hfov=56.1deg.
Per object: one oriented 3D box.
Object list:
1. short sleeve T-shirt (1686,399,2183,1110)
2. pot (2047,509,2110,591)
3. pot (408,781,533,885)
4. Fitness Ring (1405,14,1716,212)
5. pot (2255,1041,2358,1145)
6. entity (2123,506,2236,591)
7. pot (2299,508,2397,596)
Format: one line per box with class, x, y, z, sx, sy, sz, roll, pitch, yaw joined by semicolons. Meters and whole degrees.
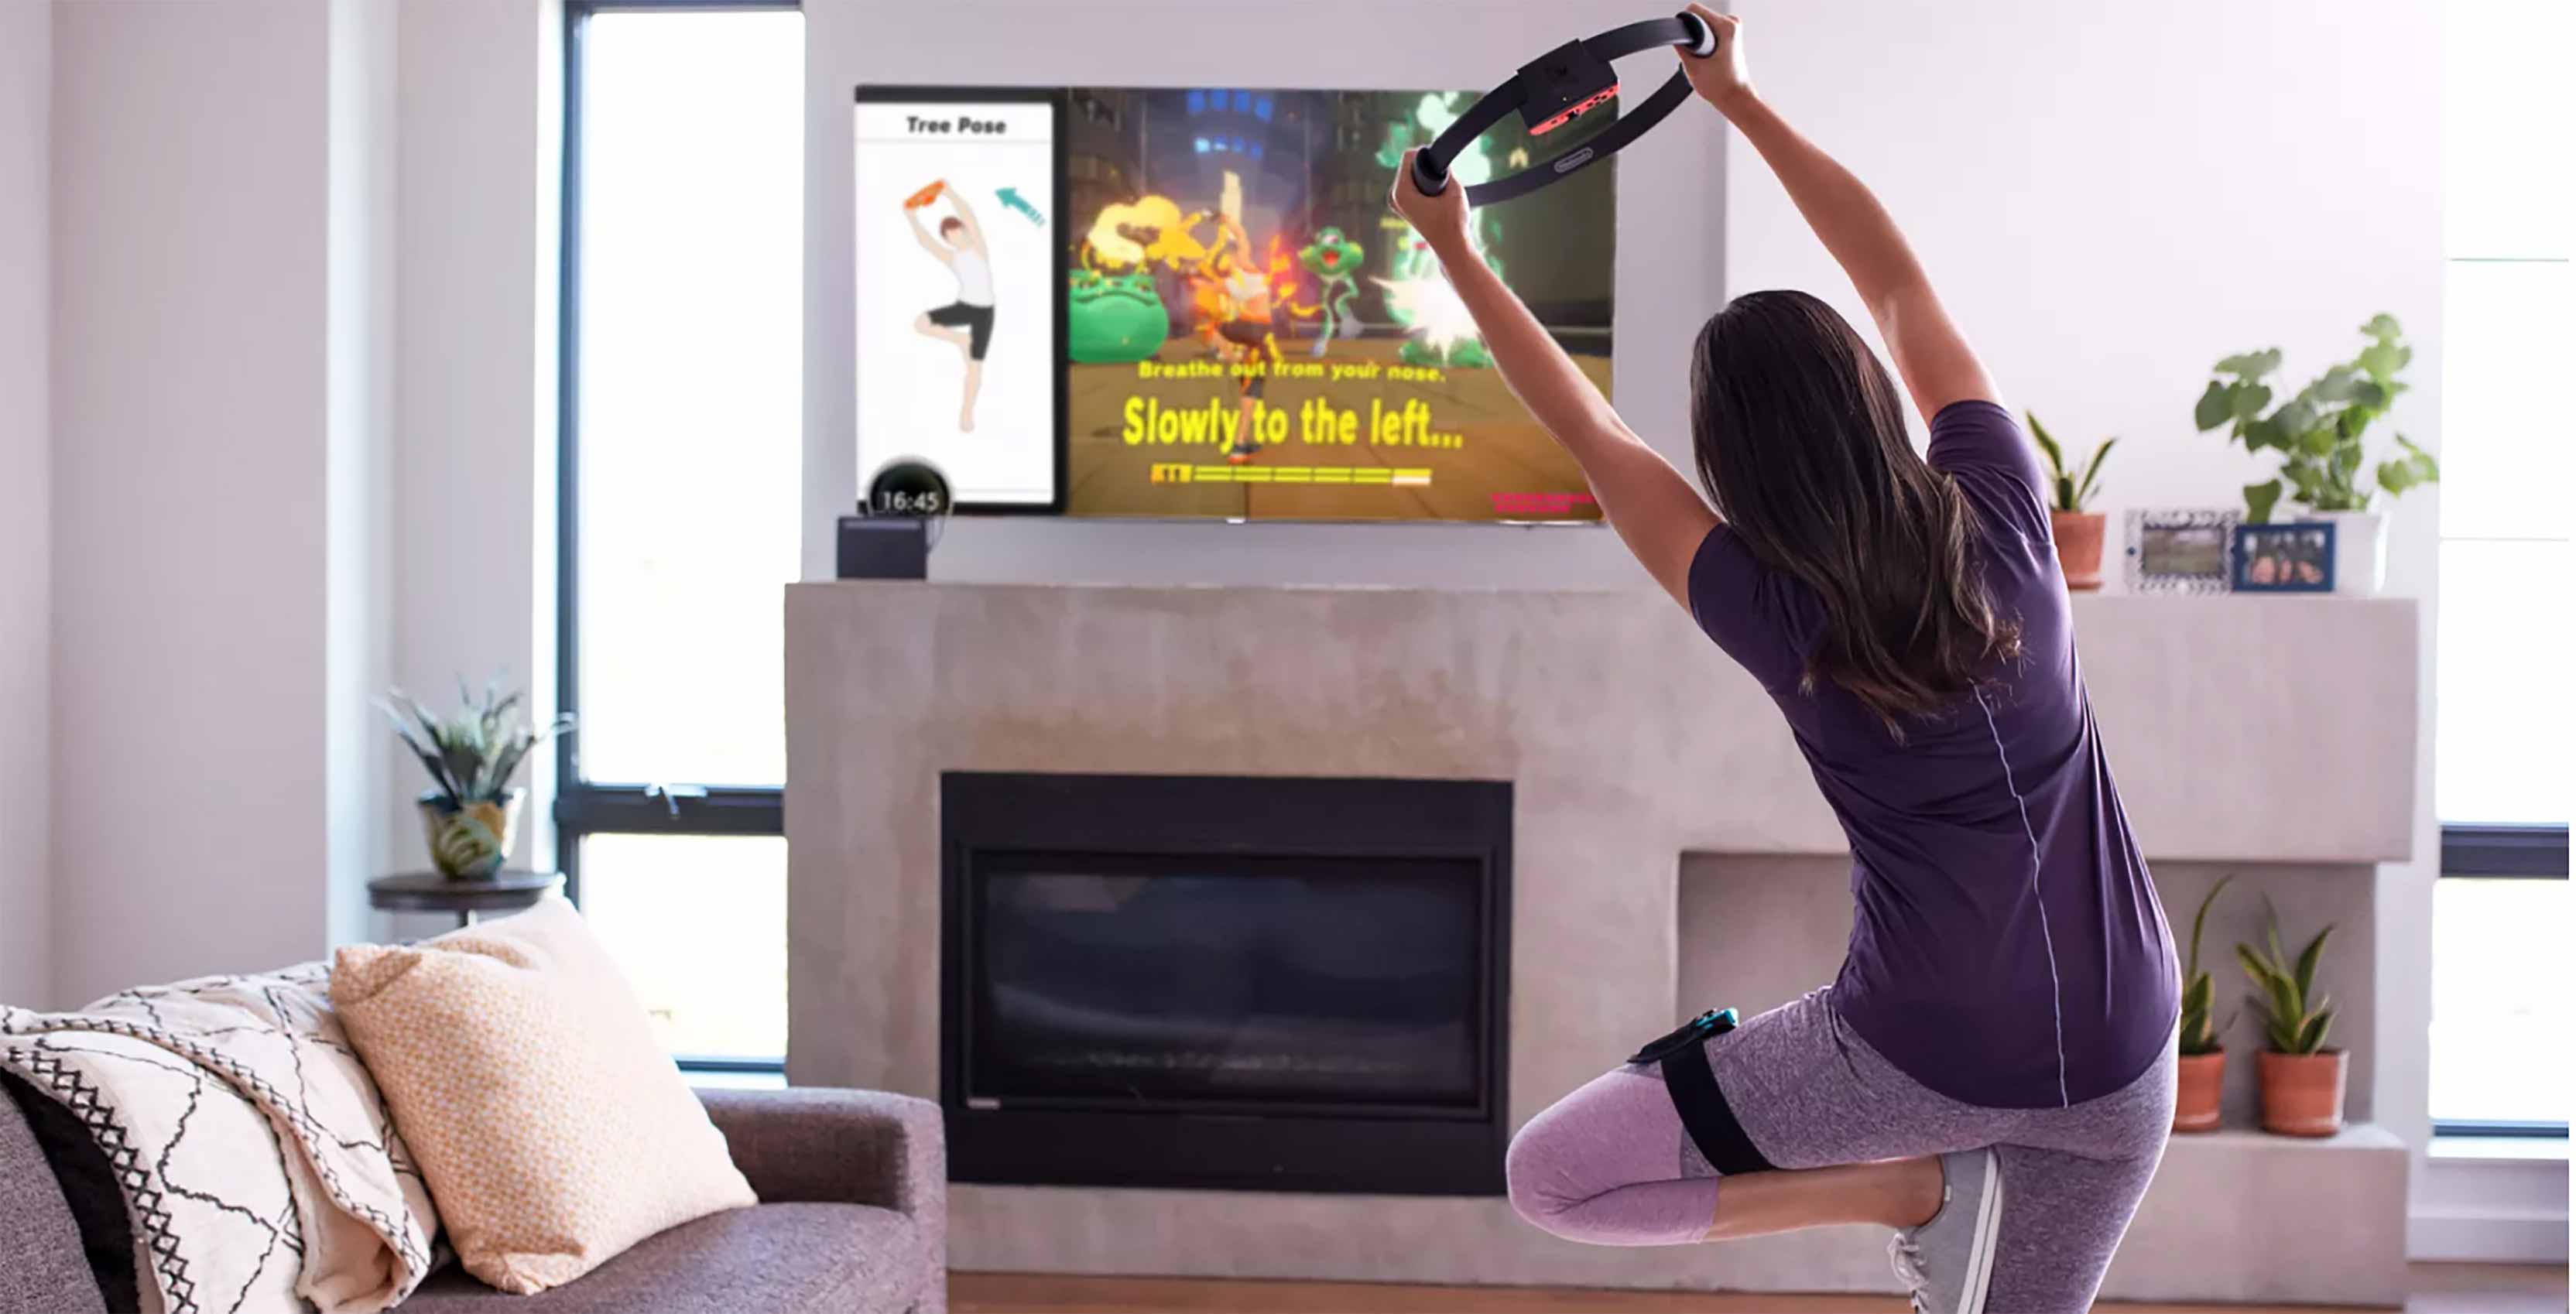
short sleeve T-shirt;1.784;0.185;6.643;1.215;1.838;0.463;-20;3;11
pot;2.507;-0.336;7.772;0.216;0.223;0.206;-3;-4;0
pot;-2.677;0.554;7.937;0.499;0.345;0.486;3;9;-1
Fitness Ring;0.715;-1.418;6.206;0.515;0.490;0.628;4;2;41
pot;3.262;1.398;7.808;0.310;0.268;0.296;0;-1;0
entity;2.835;-0.337;7.721;0.436;0.303;0.241;0;-1;8
pot;3.368;-0.301;7.798;0.341;0.330;0.254;0;-1;14
